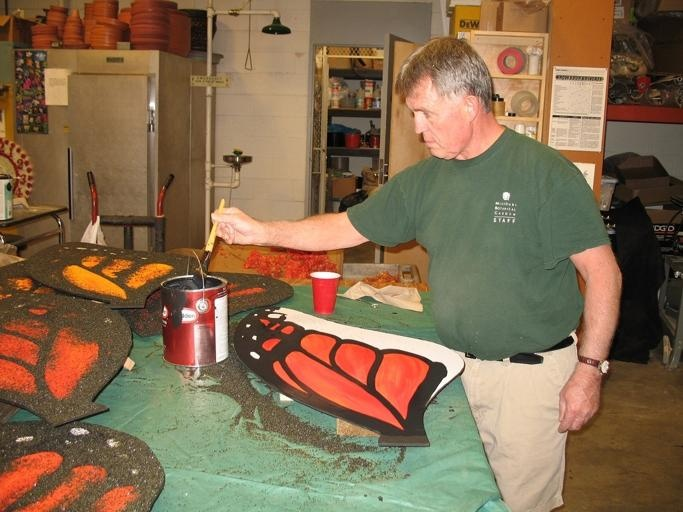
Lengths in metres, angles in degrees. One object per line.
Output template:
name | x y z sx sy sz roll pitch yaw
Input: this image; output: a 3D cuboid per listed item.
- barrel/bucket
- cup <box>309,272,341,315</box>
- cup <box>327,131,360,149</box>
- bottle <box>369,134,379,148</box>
barrel/bucket | -0.526 0.125 2.065 0.269 0.441 0.316 -5 22 -23
cup | -0.065 0.133 2.256 0.152 0.154 0.145 1 0 0
cup | 0.009 -1.439 7.466 0.238 0.114 0.305 -5 12 -37
bottle | 0.409 -1.444 7.527 0.157 0.168 0.153 0 0 6
